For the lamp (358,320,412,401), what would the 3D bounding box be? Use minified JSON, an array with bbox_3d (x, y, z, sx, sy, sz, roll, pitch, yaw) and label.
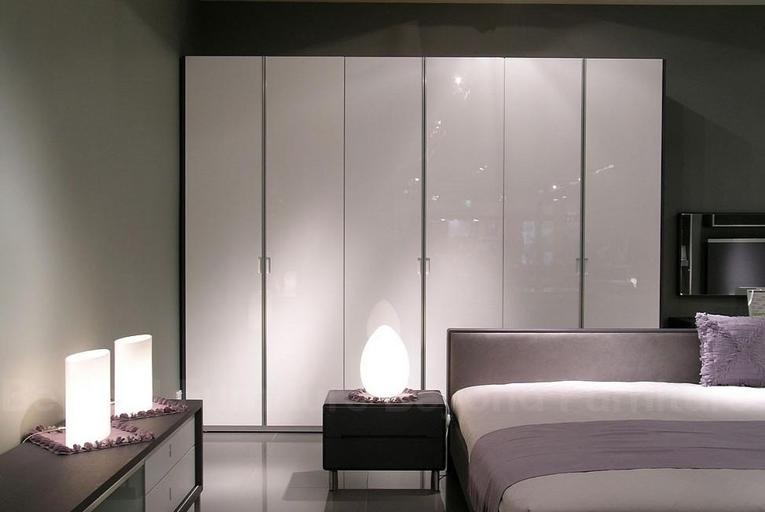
[{"bbox_3d":[0.019,0.748,4.674,0.414,0.615,0.431,2,3,20],"label":"lamp"}]
